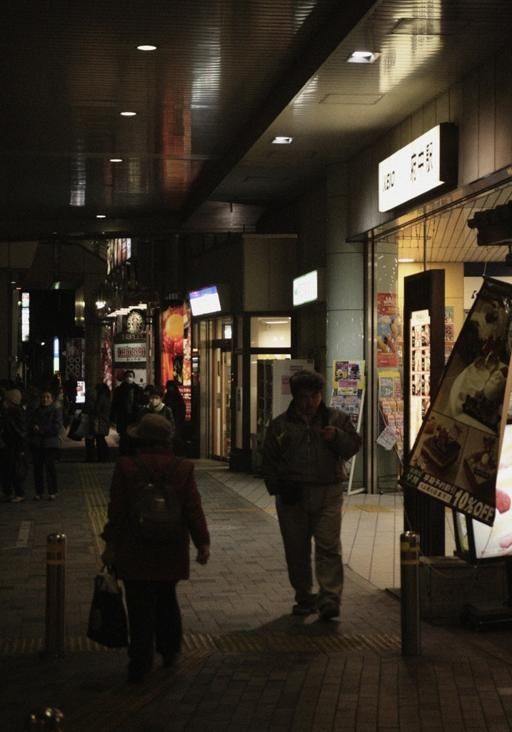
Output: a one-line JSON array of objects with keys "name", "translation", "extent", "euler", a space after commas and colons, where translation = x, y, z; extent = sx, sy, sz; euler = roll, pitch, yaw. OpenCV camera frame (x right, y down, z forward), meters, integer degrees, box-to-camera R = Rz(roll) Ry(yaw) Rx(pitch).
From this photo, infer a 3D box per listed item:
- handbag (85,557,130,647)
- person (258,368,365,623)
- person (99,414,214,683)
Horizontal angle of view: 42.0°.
[{"name": "handbag", "translation": [-0.696, 1.147, 3.159], "extent": [0.206, 0.356, 0.174], "euler": [-5, -8, 37]}, {"name": "person", "translation": [0.358, 0.844, 4.287], "extent": [0.627, 1.609, 0.604], "euler": [-1, -7, 9]}, {"name": "person", "translation": [-0.478, 0.857, 3.242], "extent": [0.468, 1.250, 0.574], "euler": [-2, -7, 16]}]
